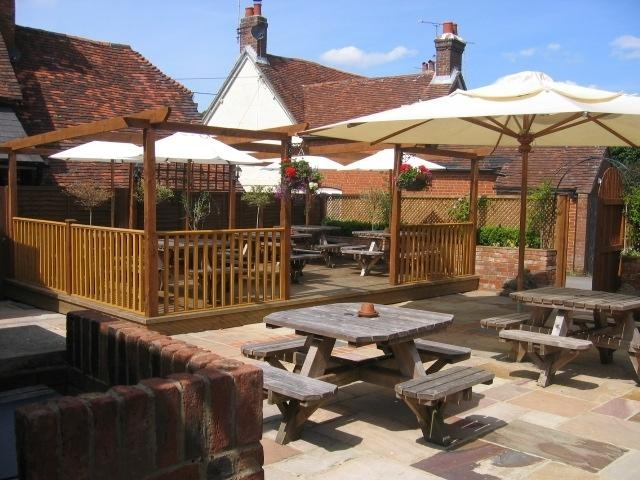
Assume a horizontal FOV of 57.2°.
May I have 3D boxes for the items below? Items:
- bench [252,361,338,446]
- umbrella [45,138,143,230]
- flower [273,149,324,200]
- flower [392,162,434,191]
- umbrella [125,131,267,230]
[{"bbox_3d":[-0.306,1.478,5.255,0.538,0.460,1.333,-13,3,-41],"label":"bench"},{"bbox_3d":[-4.472,-1.345,12.339,2.188,1.720,2.195,4,7,9],"label":"umbrella"},{"bbox_3d":[-0.520,-0.986,9.621,0.872,0.851,1.006,3,0,16],"label":"flower"},{"bbox_3d":[1.749,-1.142,11.006,0.590,0.377,0.577,-2,3,-38],"label":"flower"},{"bbox_3d":[-2.352,-1.105,10.609,1.912,1.039,1.815,-2,8,-28],"label":"umbrella"}]
